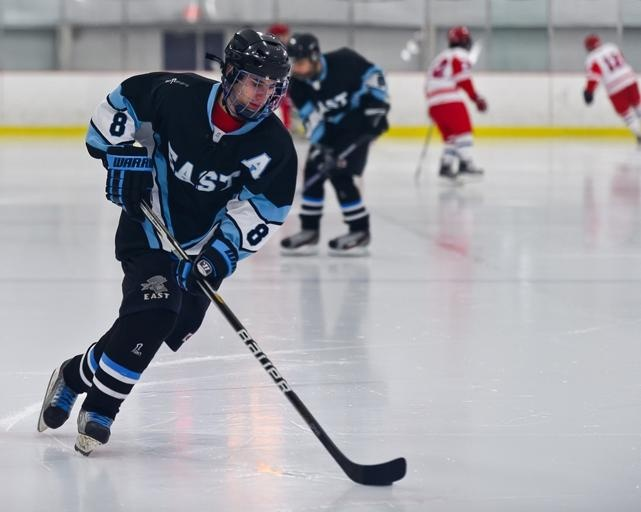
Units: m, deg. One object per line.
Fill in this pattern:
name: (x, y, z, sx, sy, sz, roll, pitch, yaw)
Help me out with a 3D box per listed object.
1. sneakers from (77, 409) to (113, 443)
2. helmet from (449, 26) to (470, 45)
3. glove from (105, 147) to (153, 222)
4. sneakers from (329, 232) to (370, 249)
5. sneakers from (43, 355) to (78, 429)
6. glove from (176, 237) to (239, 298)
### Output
sneakers: (-0.663, 0.494, 2.722, 0.057, 0.060, 0.149, 16, 5, -29)
helmet: (0.644, -1.036, 4.347, 0.105, 0.097, 0.135, -1, 8, -7)
glove: (-0.590, -0.224, 2.854, 0.174, 0.203, 0.085, 2, 0, 1)
sneakers: (0.156, -0.104, 5.025, 0.179, 0.065, 0.095, -16, 8, 24)
sneakers: (-0.778, 0.429, 2.906, 0.077, 0.240, 0.101, 33, -44, -27)
glove: (-0.335, 0.033, 2.857, 0.140, 0.186, 0.083, 43, 17, 16)
